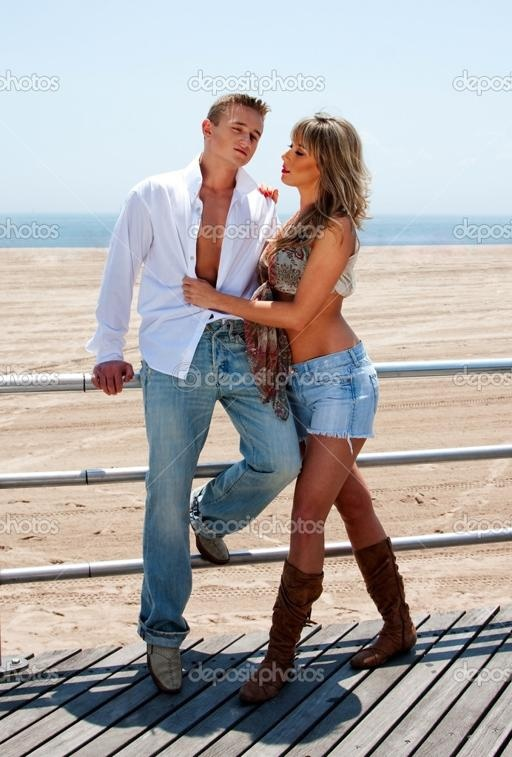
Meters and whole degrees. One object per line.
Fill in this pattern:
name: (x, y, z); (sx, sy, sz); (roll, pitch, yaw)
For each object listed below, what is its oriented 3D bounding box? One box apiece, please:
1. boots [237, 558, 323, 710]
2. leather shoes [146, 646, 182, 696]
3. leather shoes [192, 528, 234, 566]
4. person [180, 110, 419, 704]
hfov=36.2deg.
boots: (0.072, 0.780, 2.438); (0.132, 0.374, 0.289); (7, 12, 30)
leather shoes: (-0.281, 0.900, 2.452); (0.111, 0.124, 0.108); (0, 10, -8)
leather shoes: (-0.136, 0.577, 2.691); (0.075, 0.056, 0.146); (-5, 37, -20)
person: (0.178, 0.062, 2.525); (0.708, 1.767, 0.443); (-5, 13, -30)
